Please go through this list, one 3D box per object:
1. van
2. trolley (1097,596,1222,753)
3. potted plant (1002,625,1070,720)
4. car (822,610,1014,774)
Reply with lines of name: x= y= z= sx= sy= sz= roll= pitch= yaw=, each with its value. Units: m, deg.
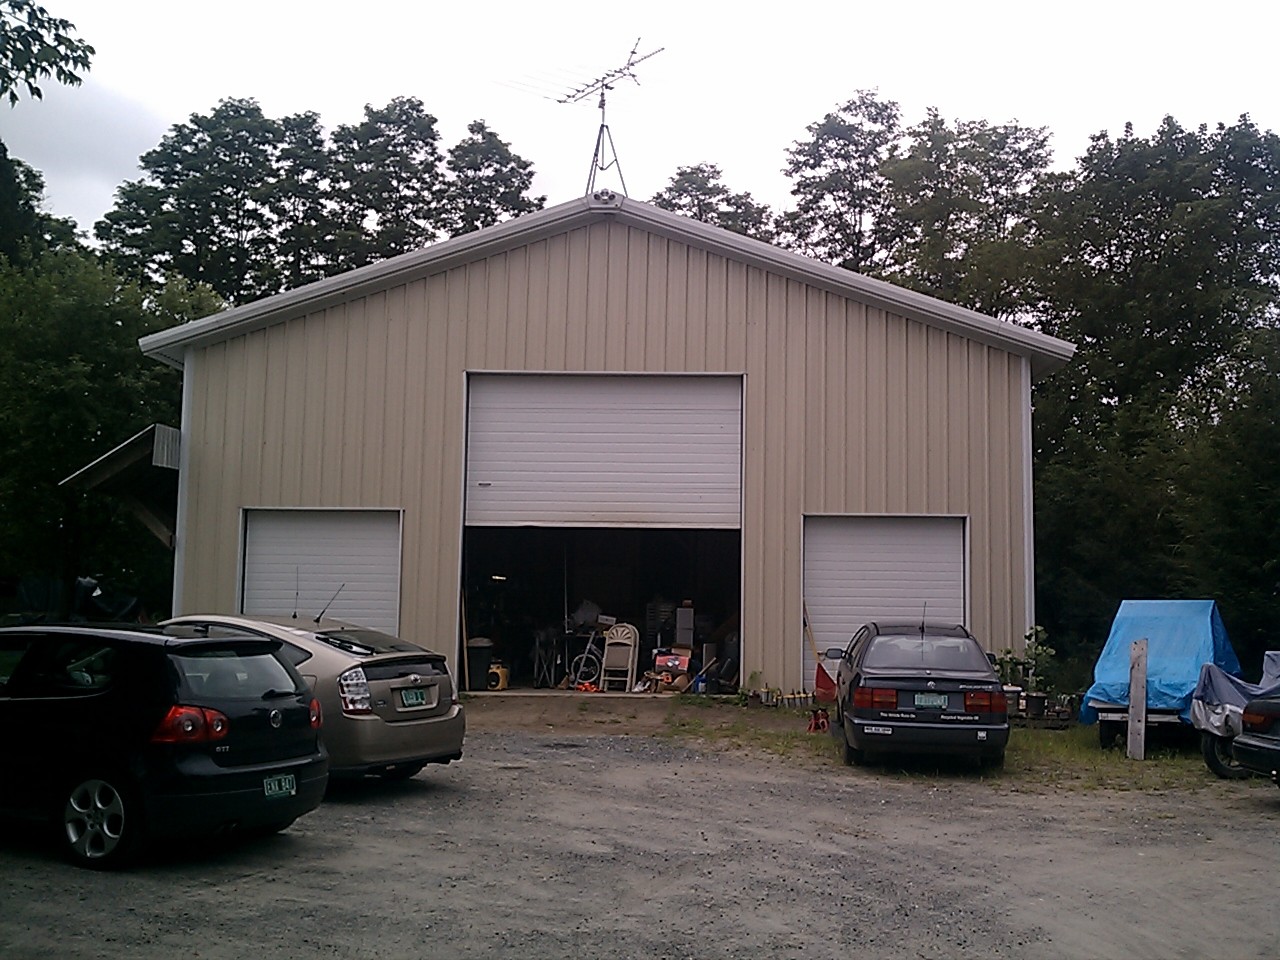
van: x=-3.615 y=2.259 z=12.177 sx=3.247 sy=1.171 sz=1.546 roll=1 pitch=-7 yaw=22
trolley: x=7.077 y=2.491 z=15.925 sx=1.434 sy=1.343 sz=2.319 roll=-4 pitch=-13 yaw=26
potted plant: x=6.622 y=3.253 z=19.534 sx=0.929 sy=1.391 sz=1.165 roll=3 pitch=-20 yaw=9
car: x=3.572 y=2.757 z=14.808 sx=1.619 sy=1.160 sz=3.111 roll=-1 pitch=-5 yaw=7
